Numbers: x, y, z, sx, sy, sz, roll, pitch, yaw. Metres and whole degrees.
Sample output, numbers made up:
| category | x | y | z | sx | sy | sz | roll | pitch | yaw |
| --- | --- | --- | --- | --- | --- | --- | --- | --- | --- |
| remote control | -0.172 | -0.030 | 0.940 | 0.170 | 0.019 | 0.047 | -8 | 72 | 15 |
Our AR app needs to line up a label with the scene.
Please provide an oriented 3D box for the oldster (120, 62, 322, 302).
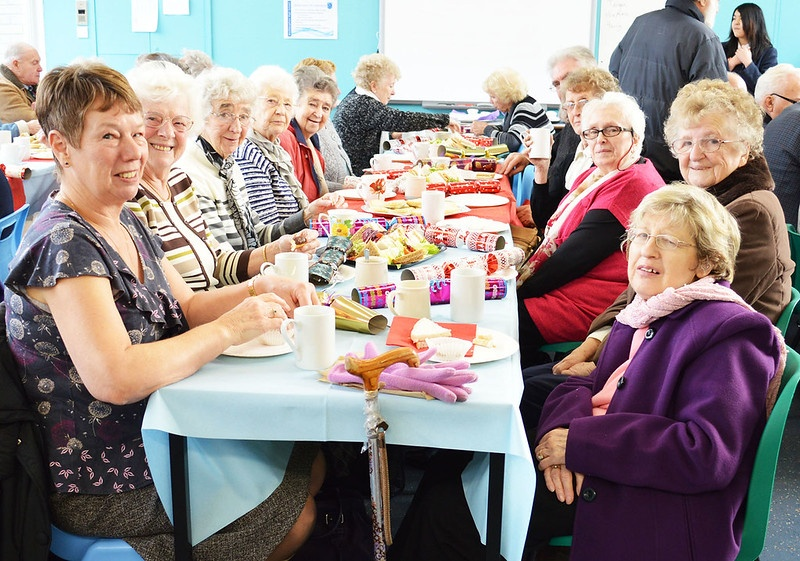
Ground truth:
| category | x | y | z | sx | sy | sz | roll | pitch | yaw |
| --- | --- | --- | --- | --- | --- | --- | --- | --- | --- |
| oldster | -0.587 | -0.431 | 2.435 | 0.836 | 1.103 | 0.644 | -4 | 14 | -12 |

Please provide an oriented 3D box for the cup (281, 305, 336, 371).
| category | x | y | z | sx | sy | sz | roll | pitch | yaw |
| --- | --- | --- | --- | --- | --- | --- | --- | --- | --- |
| cup | -0.227 | 0.143 | 1.452 | 0.096 | 0.136 | 0.157 | 8 | 12 | 33 |

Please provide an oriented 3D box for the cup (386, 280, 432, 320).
| category | x | y | z | sx | sy | sz | roll | pitch | yaw |
| --- | --- | --- | --- | --- | --- | --- | --- | --- | --- |
| cup | 0.033 | 0.052 | 1.745 | 0.132 | 0.107 | 0.081 | -9 | 17 | -31 |

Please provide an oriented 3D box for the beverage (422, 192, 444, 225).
| category | x | y | z | sx | sy | sz | roll | pitch | yaw |
| --- | --- | --- | --- | --- | --- | --- | --- | --- | --- |
| beverage | 0.143 | -0.317 | 2.594 | 0.131 | 0.146 | 0.132 | 5 | 13 | 16 |

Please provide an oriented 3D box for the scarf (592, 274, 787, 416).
| category | x | y | z | sx | sy | sz | roll | pitch | yaw |
| --- | --- | --- | --- | --- | --- | --- | --- | --- | --- |
| scarf | 0.799 | 0.148 | 1.673 | 0.409 | 0.363 | 0.267 | 28 | 10 | 23 |

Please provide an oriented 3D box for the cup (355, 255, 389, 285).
| category | x | y | z | sx | sy | sz | roll | pitch | yaw |
| --- | --- | --- | --- | --- | --- | --- | --- | --- | --- |
| cup | -0.090 | -0.037 | 1.886 | 0.090 | 0.083 | 0.088 | 1 | 5 | 0 |

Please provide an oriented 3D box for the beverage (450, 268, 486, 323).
| category | x | y | z | sx | sy | sz | roll | pitch | yaw |
| --- | --- | --- | --- | --- | --- | --- | --- | --- | --- |
| beverage | 0.193 | 0.035 | 1.776 | 0.097 | 0.145 | 0.151 | -1 | 18 | -2 |

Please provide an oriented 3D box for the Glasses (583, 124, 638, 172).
| category | x | y | z | sx | sy | sz | roll | pitch | yaw |
| --- | --- | --- | --- | --- | --- | --- | --- | --- | --- |
| Glasses | 0.897 | -0.598 | 2.581 | 0.214 | 0.261 | 0.211 | 1 | 3 | 22 |

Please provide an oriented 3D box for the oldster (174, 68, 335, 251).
| category | x | y | z | sx | sy | sz | roll | pitch | yaw |
| --- | --- | --- | --- | --- | --- | --- | --- | --- | --- |
| oldster | -0.594 | -0.567 | 2.694 | 0.671 | 0.723 | 0.498 | 7 | 4 | -38 |

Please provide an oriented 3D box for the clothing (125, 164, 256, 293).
| category | x | y | z | sx | sy | sz | roll | pitch | yaw |
| --- | --- | --- | --- | --- | --- | --- | --- | --- | --- |
| clothing | -0.703 | -0.171 | 2.004 | 0.231 | 0.426 | 0.310 | -17 | 25 | 19 |

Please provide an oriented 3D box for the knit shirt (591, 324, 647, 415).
| category | x | y | z | sx | sy | sz | roll | pitch | yaw |
| --- | --- | --- | --- | --- | --- | --- | --- | --- | --- |
| knit shirt | 0.590 | 0.253 | 1.682 | 0.172 | 0.225 | 0.085 | 11 | -24 | -11 |

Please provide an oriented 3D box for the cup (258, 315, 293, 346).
| category | x | y | z | sx | sy | sz | roll | pitch | yaw |
| --- | --- | --- | --- | --- | --- | --- | --- | --- | --- |
| cup | -0.306 | 0.135 | 1.513 | 0.074 | 0.050 | 0.075 | -1 | 22 | 0 |

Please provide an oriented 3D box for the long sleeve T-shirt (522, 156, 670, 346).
| category | x | y | z | sx | sy | sz | roll | pitch | yaw |
| --- | --- | --- | --- | --- | --- | --- | --- | --- | --- |
| long sleeve T-shirt | 0.721 | -0.214 | 2.910 | 0.738 | 0.961 | 0.780 | 6 | 8 | 8 |

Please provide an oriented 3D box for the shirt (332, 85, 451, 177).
| category | x | y | z | sx | sy | sz | roll | pitch | yaw |
| --- | --- | --- | --- | --- | --- | --- | --- | --- | --- |
| shirt | -0.079 | -1.163 | 5.225 | 0.971 | 0.684 | 0.745 | -1 | -2 | -19 |

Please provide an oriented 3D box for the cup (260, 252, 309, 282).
| category | x | y | z | sx | sy | sz | roll | pitch | yaw |
| --- | --- | --- | --- | --- | --- | --- | --- | --- | --- |
| cup | -0.345 | -0.043 | 1.787 | 0.126 | 0.086 | 0.078 | -1 | 7 | -8 |

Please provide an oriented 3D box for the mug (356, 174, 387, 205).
| category | x | y | z | sx | sy | sz | roll | pitch | yaw |
| --- | --- | --- | --- | --- | --- | --- | --- | --- | --- |
| mug | -0.103 | -0.460 | 3.050 | 0.190 | 0.137 | 0.119 | -16 | 21 | -40 |

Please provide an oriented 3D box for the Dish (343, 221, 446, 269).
| category | x | y | z | sx | sy | sz | roll | pitch | yaw |
| --- | --- | --- | --- | --- | --- | --- | --- | --- | --- |
| Dish | -0.055 | -0.166 | 2.162 | 0.229 | 0.069 | 0.210 | 14 | 19 | 43 |

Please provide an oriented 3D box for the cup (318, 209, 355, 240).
| category | x | y | z | sx | sy | sz | roll | pitch | yaw |
| --- | --- | --- | --- | --- | --- | --- | --- | --- | --- |
| cup | -0.234 | -0.224 | 2.344 | 0.154 | 0.139 | 0.125 | 0 | 25 | -2 |

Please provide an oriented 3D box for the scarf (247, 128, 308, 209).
| category | x | y | z | sx | sy | sz | roll | pitch | yaw |
| --- | --- | --- | --- | --- | --- | --- | --- | --- | --- |
| scarf | -0.651 | -0.581 | 3.194 | 0.139 | 0.259 | 0.096 | -17 | -9 | 6 |

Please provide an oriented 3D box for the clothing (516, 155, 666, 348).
| category | x | y | z | sx | sy | sz | roll | pitch | yaw |
| --- | --- | --- | --- | --- | --- | --- | --- | --- | --- |
| clothing | 0.699 | -0.211 | 2.824 | 0.756 | 0.963 | 0.775 | 5 | 9 | 12 |
